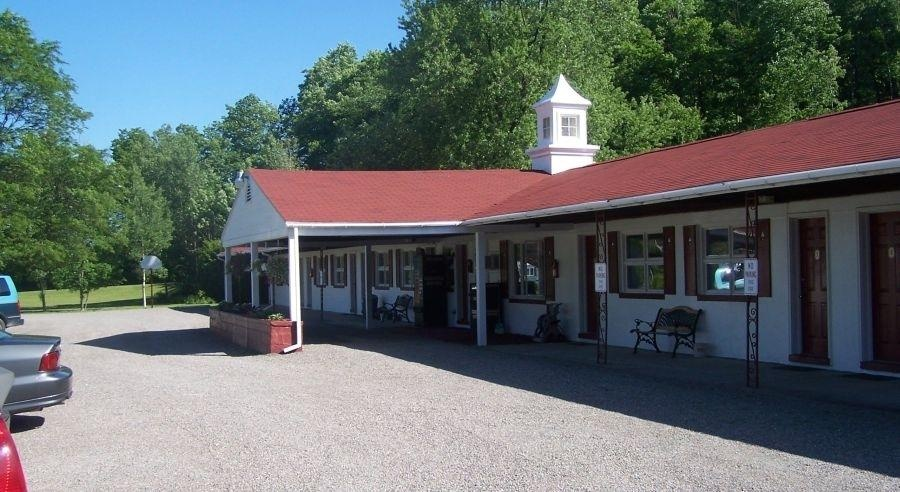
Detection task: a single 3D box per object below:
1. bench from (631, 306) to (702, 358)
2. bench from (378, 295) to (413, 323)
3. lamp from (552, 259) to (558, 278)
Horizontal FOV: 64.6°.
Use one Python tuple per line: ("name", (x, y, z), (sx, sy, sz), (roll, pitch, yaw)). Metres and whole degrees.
("bench", (6.923, 2.758, 22.919), (1.232, 1.574, 2.349), (3, -5, -12))
("bench", (-2.615, 3.087, 34.459), (1.315, 1.231, 1.752), (2, -6, -34))
("lamp", (3.923, 0.839, 26.306), (0.229, 0.658, 0.105), (3, 10, 26))
